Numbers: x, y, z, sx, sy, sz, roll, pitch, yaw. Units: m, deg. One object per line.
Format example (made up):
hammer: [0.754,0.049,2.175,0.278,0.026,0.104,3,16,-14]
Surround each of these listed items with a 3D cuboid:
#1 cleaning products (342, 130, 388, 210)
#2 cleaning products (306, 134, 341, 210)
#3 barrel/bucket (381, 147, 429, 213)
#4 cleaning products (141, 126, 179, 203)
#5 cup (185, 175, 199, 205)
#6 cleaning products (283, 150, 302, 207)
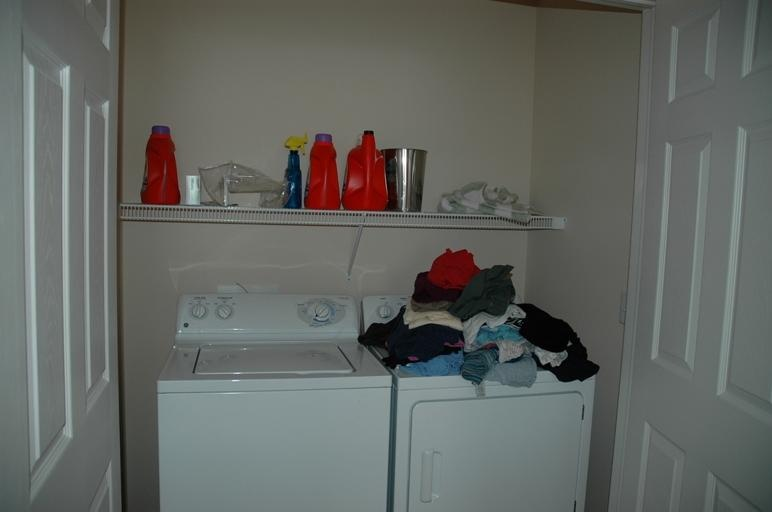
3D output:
cleaning products: [-0.101,-0.385,2.571,0.203,0.355,0.124,-2,7,-11]
cleaning products: [-0.295,-0.383,2.563,0.168,0.340,0.166,-1,7,-5]
barrel/bucket: [0.096,-0.360,2.777,0.250,0.328,0.270,-1,-1,0]
cleaning products: [-1.021,-0.407,2.517,0.155,0.350,0.194,-4,8,-24]
cup: [-0.865,-0.294,2.516,0.051,0.127,0.071,-4,8,-29]
cleaning products: [-0.453,-0.369,2.696,0.082,0.272,0.115,-2,7,-12]
